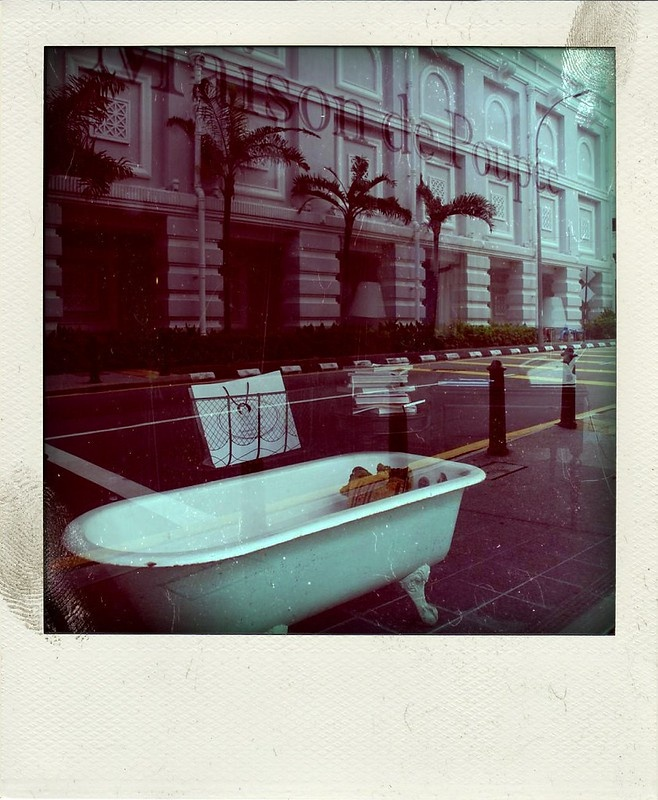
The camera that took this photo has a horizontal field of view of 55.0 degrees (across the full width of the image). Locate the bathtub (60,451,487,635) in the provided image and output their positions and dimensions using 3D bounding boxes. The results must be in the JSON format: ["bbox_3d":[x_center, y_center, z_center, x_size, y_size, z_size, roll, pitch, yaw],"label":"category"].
[{"bbox_3d":[-0.174,0.454,1.845,1.105,0.476,0.518,-4,6,-31],"label":"bathtub"}]
